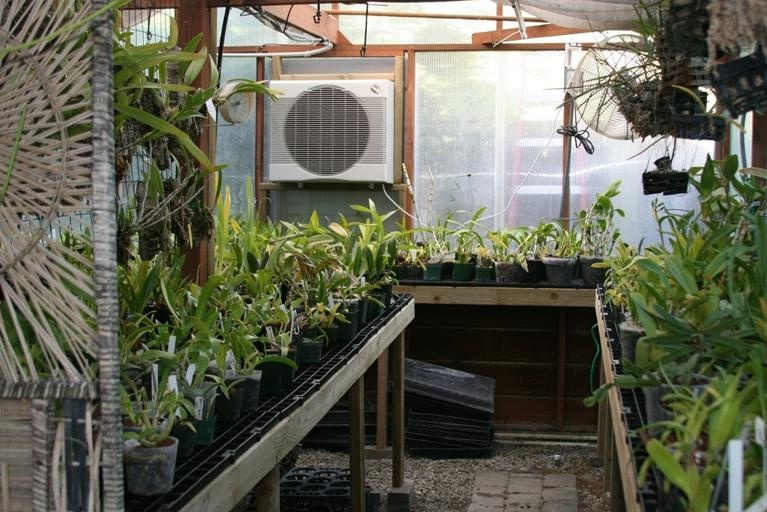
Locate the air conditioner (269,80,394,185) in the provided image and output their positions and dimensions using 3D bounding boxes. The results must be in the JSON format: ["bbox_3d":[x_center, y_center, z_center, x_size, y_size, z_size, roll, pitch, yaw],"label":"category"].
[{"bbox_3d":[-0.297,-0.743,4.695,0.527,0.518,0.213,0,1,3],"label":"air conditioner"}]
